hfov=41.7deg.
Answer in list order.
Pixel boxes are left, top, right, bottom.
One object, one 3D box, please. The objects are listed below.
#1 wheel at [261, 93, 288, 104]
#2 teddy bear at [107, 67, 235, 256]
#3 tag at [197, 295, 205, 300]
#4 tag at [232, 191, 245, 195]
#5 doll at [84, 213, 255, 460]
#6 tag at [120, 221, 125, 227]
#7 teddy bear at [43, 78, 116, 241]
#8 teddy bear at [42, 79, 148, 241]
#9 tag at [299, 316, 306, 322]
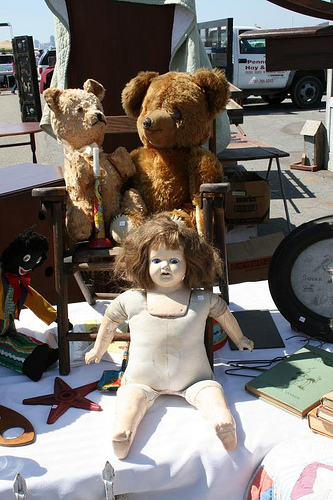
[{"bbox_3d":[3.027,-4.358,12.678,0.474,0.145,0.472,1,13,0],"label":"wheel"},{"bbox_3d":[-0.031,-0.459,2.156,0.605,0.822,0.537,11,22,28],"label":"teddy bear"},{"bbox_3d":[0.129,0.183,1.672,0.034,0.004,0.041,-1,21,1],"label":"tag"},{"bbox_3d":[0.579,-0.464,3.566,0.104,0.033,0.011,2,2,-5],"label":"tag"},{"bbox_3d":[0.006,0.266,1.621,0.603,0.579,0.732,1,26,-1],"label":"doll"},{"bbox_3d":[-0.202,-0.119,1.996,0.022,0.021,0.022,3,11,15],"label":"tag"},{"bbox_3d":[-0.412,-0.438,2.101,0.287,0.746,0.394,-5,15,-9],"label":"teddy bear"},{"bbox_3d":[-0.342,-0.439,2.106,0.416,0.755,0.384,-6,15,-14],"label":"teddy bear"},{"bbox_3d":[0.645,0.329,2.083,0.029,0.026,0.007,1,-5,21],"label":"tag"}]
